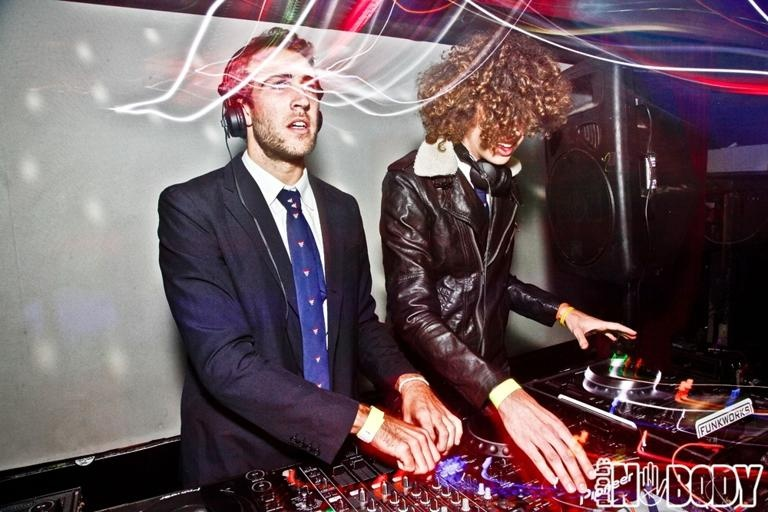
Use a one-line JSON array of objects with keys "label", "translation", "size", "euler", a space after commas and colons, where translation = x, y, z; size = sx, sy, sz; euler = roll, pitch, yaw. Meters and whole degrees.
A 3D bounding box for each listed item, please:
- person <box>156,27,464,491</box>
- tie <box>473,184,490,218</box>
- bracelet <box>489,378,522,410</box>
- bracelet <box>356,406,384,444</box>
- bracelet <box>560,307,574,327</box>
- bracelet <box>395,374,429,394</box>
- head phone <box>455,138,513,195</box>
[{"label": "person", "translation": [-0.425, -0.095, 2.223], "size": [0.940, 1.532, 0.843], "euler": [-11, 5, -20]}, {"label": "tie", "translation": [0.532, -0.283, 2.840], "size": [0.106, 0.126, 0.138], "euler": [2, 6, 11]}, {"label": "bracelet", "translation": [0.499, 0.554, 2.221], "size": [0.130, 0.061, 0.107], "euler": [-10, 5, -11]}, {"label": "bracelet", "translation": [-0.046, 0.632, 2.058], "size": [0.091, 0.039, 0.119], "euler": [32, 67, 22]}, {"label": "bracelet", "translation": [0.917, 0.309, 2.779], "size": [0.022, 0.081, 0.082], "euler": [27, 33, -2]}, {"label": "bracelet", "translation": [0.122, 0.530, 2.313], "size": [0.095, 0.086, 0.049], "euler": [-3, 33, -1]}, {"label": "head phone", "translation": [0.494, -0.455, 2.738], "size": [0.294, 0.112, 0.303], "euler": [2, 42, -52]}]
